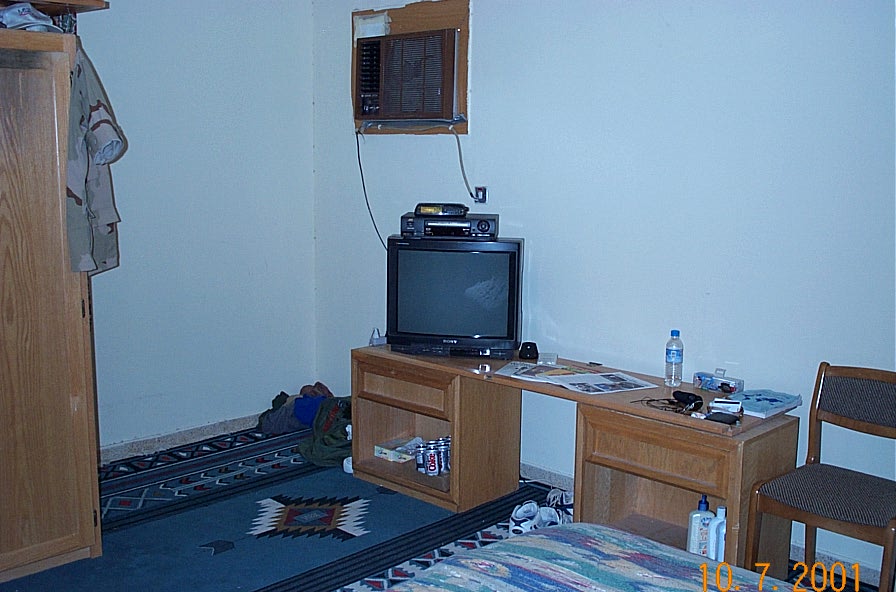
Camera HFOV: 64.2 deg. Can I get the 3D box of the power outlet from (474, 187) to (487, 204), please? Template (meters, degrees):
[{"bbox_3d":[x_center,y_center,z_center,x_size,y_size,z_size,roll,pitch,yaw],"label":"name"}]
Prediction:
[{"bbox_3d":[0.207,-0.659,4.673,0.096,0.121,0.100,1,4,9],"label":"power outlet"}]

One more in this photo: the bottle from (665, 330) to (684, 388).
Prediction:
[{"bbox_3d":[1.250,0.337,3.942,0.098,0.283,0.276,2,9,17],"label":"bottle"}]

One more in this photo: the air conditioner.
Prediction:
[{"bbox_3d":[-0.201,-1.467,4.866,0.802,0.518,0.438,6,13,19],"label":"air conditioner"}]

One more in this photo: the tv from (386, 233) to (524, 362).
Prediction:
[{"bbox_3d":[0.099,0.023,4.491,0.883,0.712,0.482,2,3,18],"label":"tv"}]
